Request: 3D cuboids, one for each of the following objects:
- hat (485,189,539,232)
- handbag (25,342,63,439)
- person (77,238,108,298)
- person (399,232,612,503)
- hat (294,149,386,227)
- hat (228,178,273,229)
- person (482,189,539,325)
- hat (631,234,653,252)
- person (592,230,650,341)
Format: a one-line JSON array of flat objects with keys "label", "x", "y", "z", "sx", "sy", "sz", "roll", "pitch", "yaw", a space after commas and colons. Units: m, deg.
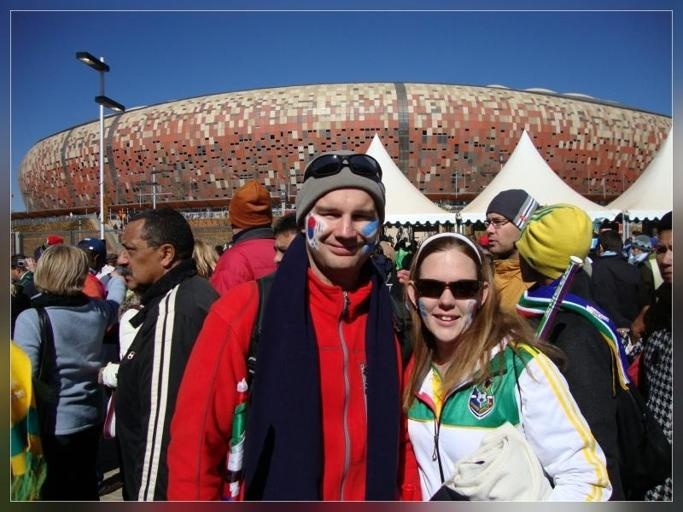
[{"label": "hat", "x": 1.464, "y": -0.427, "z": 4.805, "sx": 0.384, "sy": 0.360, "sz": 0.306, "roll": -26, "pitch": 0, "yaw": 11}, {"label": "handbag", "x": -2.196, "y": 0.993, "z": 4.120, "sx": 0.153, "sy": 0.709, "sz": 0.156, "roll": 0, "pitch": -2, "yaw": -15}, {"label": "person", "x": -2.578, "y": 0.125, "z": 5.762, "sx": 0.354, "sy": 0.790, "sz": 0.547, "roll": 4, "pitch": -1, "yaw": -28}, {"label": "person", "x": 0.825, "y": 0.598, "z": 2.838, "sx": 0.529, "sy": 1.430, "sz": 0.741, "roll": 16, "pitch": -30, "yaw": -41}, {"label": "hat", "x": -0.007, "y": -0.420, "z": 3.094, "sx": 0.362, "sy": 0.348, "sz": 0.417, "roll": 2, "pitch": -9, "yaw": -2}, {"label": "hat", "x": -0.884, "y": -0.506, "z": 5.343, "sx": 0.342, "sy": 0.477, "sz": 0.440, "roll": 3, "pitch": 12, "yaw": -17}, {"label": "person", "x": 1.218, "y": 0.002, "z": 3.975, "sx": 0.371, "sy": 0.905, "sz": 0.718, "roll": 4, "pitch": -8, "yaw": -8}, {"label": "hat", "x": 4.444, "y": -0.196, "z": 8.178, "sx": 0.311, "sy": 0.196, "sz": 0.450, "roll": 3, "pitch": 4, "yaw": 3}, {"label": "person", "x": 2.950, "y": 0.439, "z": 5.857, "sx": 0.576, "sy": 1.605, "sz": 0.432, "roll": 0, "pitch": 34, "yaw": 34}]
